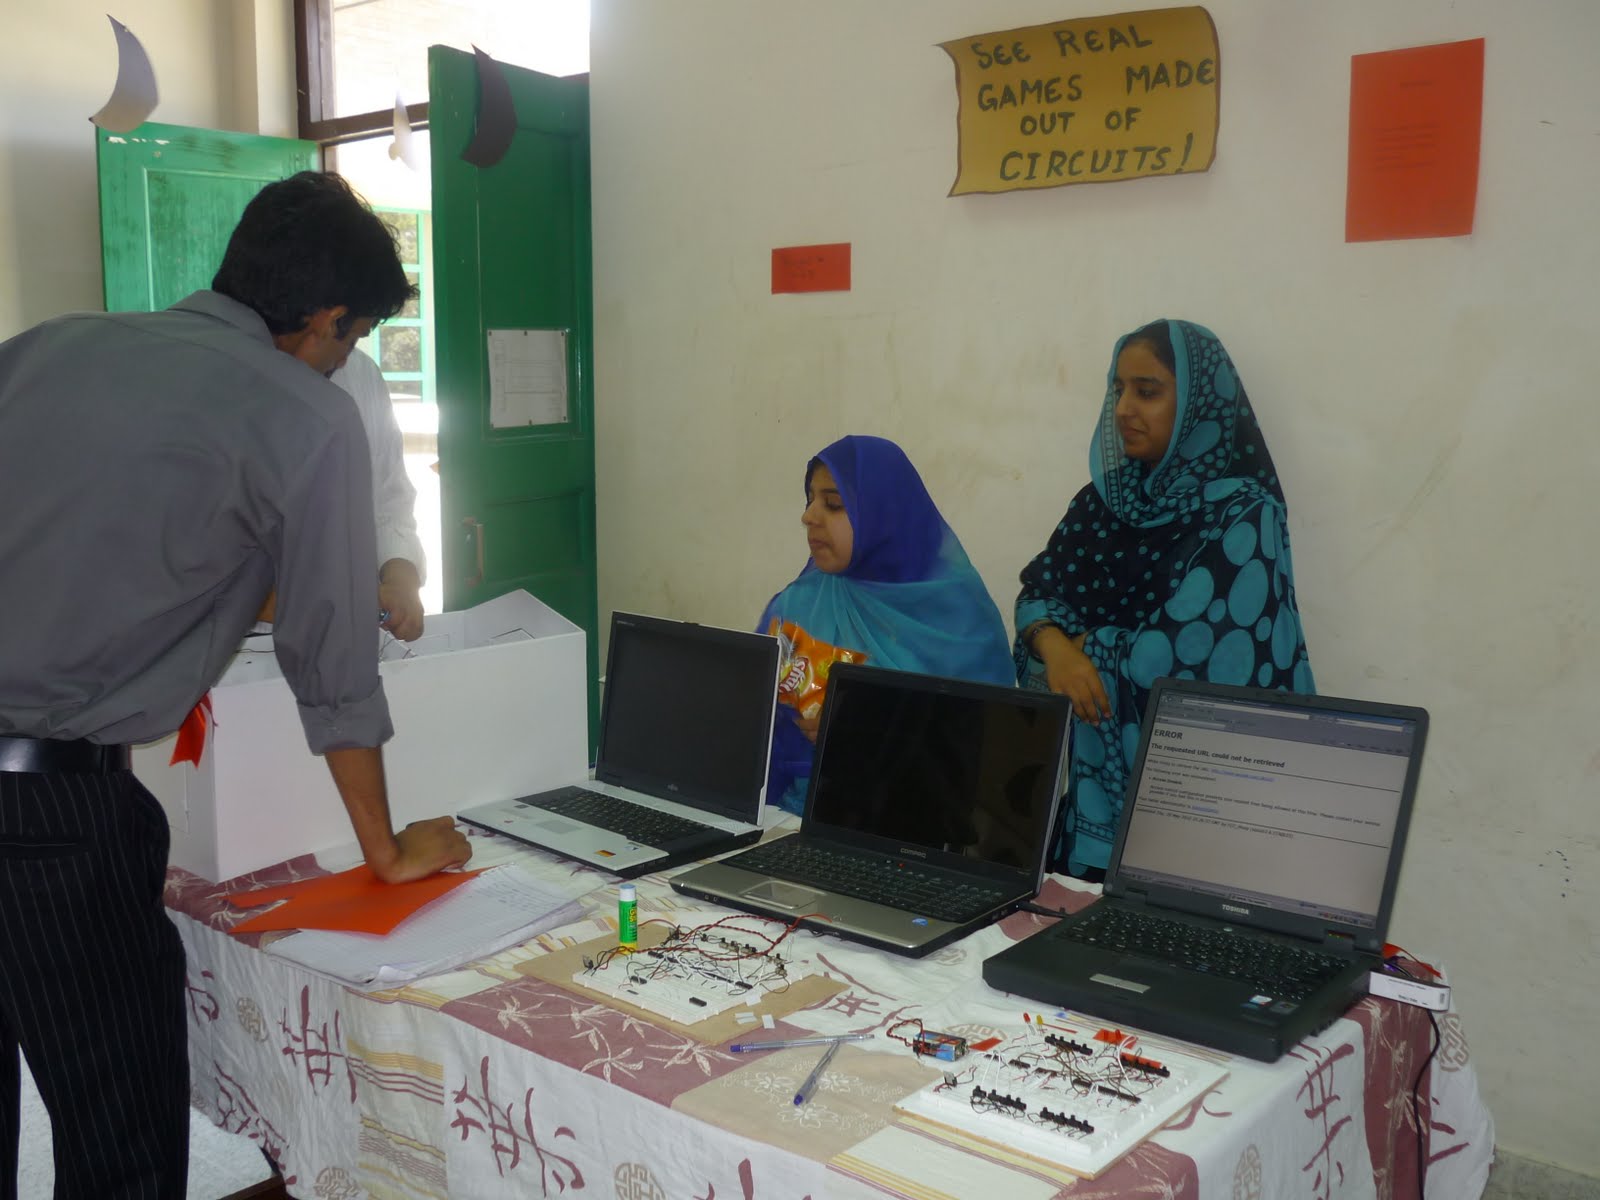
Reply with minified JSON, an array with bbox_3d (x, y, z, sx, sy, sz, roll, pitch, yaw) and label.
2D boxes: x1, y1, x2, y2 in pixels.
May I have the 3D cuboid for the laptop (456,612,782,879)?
[{"bbox_3d":[-0.306,0.271,2.157,0.475,0.397,0.416,9,5,39],"label":"laptop"}]

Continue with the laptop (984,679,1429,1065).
[{"bbox_3d":[0.597,0.265,1.722,0.437,0.395,0.531,7,8,43],"label":"laptop"}]

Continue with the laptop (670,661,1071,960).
[{"bbox_3d":[0.131,0.210,1.881,0.460,0.309,0.412,7,6,41],"label":"laptop"}]
